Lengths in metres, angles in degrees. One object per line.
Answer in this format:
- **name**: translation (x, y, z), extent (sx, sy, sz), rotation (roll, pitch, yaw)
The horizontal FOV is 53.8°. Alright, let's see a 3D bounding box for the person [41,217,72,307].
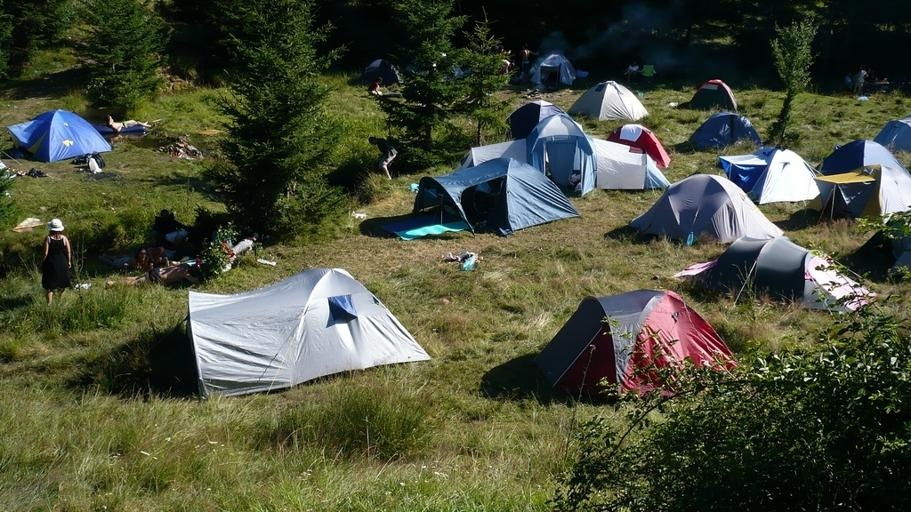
- **person**: translation (-12.806, 0.150, 28.817), extent (0.844, 2.568, 0.645), rotation (-3, 13, -40)

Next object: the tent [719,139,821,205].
- **tent**: translation (11.760, -3.095, 33.311), extent (2.794, 1.061, 2.150), rotation (-9, 29, -28)

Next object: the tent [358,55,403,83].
- **tent**: translation (-3.817, -9.523, 46.001), extent (1.484, 1.254, 2.015), rotation (-4, 18, -27)

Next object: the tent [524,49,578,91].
- **tent**: translation (5.097, -9.687, 46.549), extent (1.779, 1.109, 2.235), rotation (4, 21, 11)

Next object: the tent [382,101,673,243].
- **tent**: translation (2.406, -3.063, 33.754), extent (13.001, 5.446, 3.667), rotation (0, -3, -4)

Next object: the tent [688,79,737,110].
- **tent**: translation (11.753, -7.352, 40.853), extent (1.698, 0.852, 1.519), rotation (8, 18, 33)

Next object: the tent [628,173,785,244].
- **tent**: translation (8.554, -1.634, 30.801), extent (4.334, 2.285, 0.991), rotation (7, 16, 8)

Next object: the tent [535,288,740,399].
- **tent**: translation (4.855, 2.529, 25.991), extent (6.424, 2.831, 2.944), rotation (-2, 13, -14)

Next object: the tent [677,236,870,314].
- **tent**: translation (9.731, 0.397, 28.437), extent (4.150, 1.879, 0.967), rotation (10, 17, 17)
